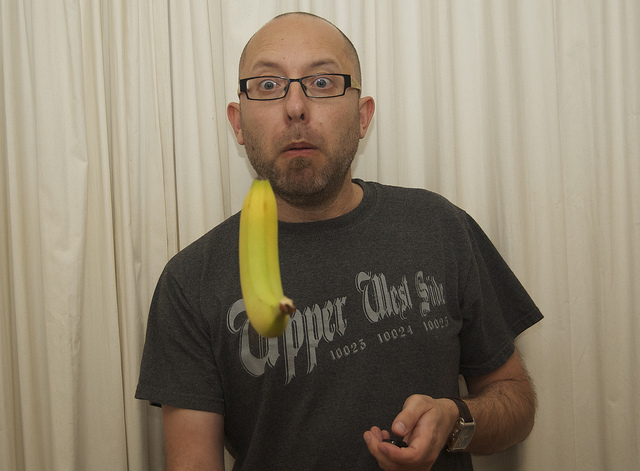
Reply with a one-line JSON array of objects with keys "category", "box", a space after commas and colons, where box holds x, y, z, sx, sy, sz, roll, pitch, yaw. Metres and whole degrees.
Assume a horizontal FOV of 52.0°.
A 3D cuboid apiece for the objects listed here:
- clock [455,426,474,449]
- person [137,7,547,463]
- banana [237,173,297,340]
[{"category": "clock", "box": [0.439, 0.609, 1.998, 0.055, 0.062, 0.039, -5, -2, -14]}, {"category": "person", "box": [0.067, 0.025, 2.140, 1.108, 1.842, 0.913, -4, -3, -1]}, {"category": "banana", "box": [-0.126, 0.044, 1.458, 0.109, 0.257, 0.147, -5, -2, -7]}]
